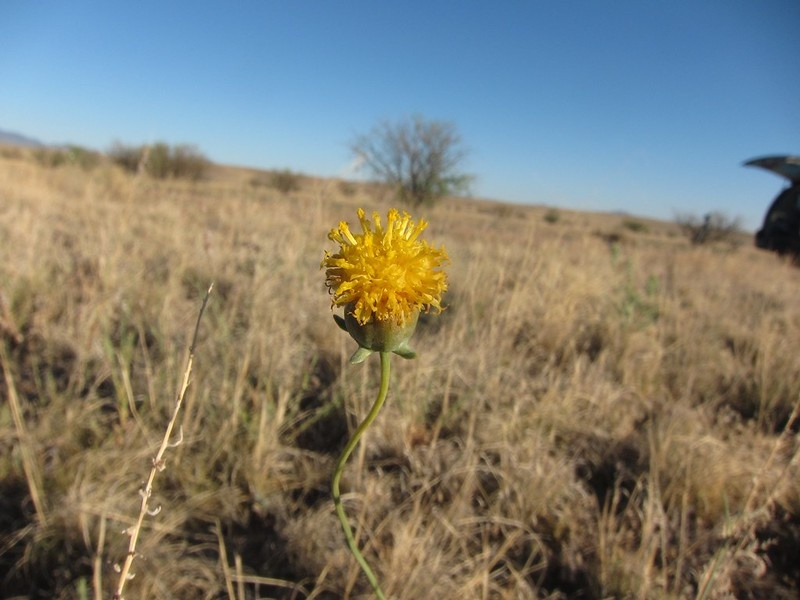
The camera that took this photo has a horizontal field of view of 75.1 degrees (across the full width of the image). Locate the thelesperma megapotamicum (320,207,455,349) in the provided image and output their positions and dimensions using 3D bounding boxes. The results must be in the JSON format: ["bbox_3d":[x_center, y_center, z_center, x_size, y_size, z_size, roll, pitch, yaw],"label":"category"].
[{"bbox_3d":[-0.053,-0.100,3.061,0.622,0.831,0.698,3,2,0],"label":"thelesperma megapotamicum"}]
